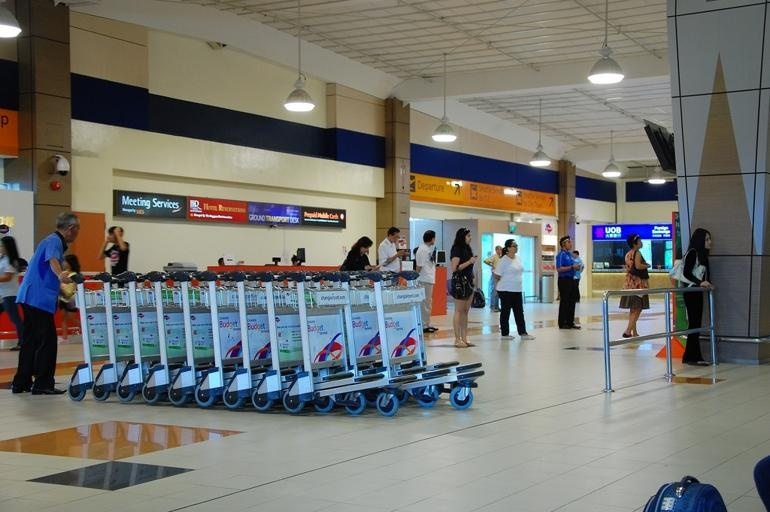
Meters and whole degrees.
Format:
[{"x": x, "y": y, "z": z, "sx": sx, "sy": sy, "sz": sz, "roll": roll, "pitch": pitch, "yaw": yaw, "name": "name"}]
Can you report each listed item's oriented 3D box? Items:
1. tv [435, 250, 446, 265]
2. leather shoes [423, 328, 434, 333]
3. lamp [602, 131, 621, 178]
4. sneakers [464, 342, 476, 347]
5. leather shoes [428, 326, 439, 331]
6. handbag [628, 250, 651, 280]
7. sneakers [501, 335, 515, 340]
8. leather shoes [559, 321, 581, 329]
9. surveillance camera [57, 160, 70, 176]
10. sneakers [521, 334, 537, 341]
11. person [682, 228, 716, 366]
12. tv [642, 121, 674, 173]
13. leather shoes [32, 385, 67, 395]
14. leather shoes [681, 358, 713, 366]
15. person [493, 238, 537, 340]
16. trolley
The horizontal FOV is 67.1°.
[{"x": 1.655, "y": 0.055, "z": 17.358, "sx": 0.439, "sy": 0.430, "sz": 0.155, "roll": 0, "pitch": 0, "yaw": -36, "name": "tv"}, {"x": 0.906, "y": 1.543, "z": 11.953, "sx": 0.293, "sy": 0.116, "sz": 0.098, "roll": 0, "pitch": -1, "yaw": 9, "name": "leather shoes"}, {"x": 9.373, "y": -4.056, "z": 24.028, "sx": 0.572, "sy": 1.914, "sz": 5.991, "roll": -2, "pitch": 0, "yaw": 22, "name": "lamp"}, {"x": 1.452, "y": 1.518, "z": 9.901, "sx": 0.187, "sy": 0.073, "sz": 0.068, "roll": 1, "pitch": -1, "yaw": 3, "name": "sneakers"}, {"x": 1.006, "y": 1.506, "z": 11.933, "sx": 0.178, "sy": 0.069, "sz": 0.061, "roll": 4, "pitch": 0, "yaw": 15, "name": "leather shoes"}, {"x": 4.584, "y": 0.143, "z": 10.584, "sx": 0.398, "sy": 0.692, "sz": 0.587, "roll": 1, "pitch": -1, "yaw": 19, "name": "handbag"}, {"x": 2.314, "y": 1.540, "z": 10.931, "sx": 0.268, "sy": 0.111, "sz": 0.088, "roll": -1, "pitch": -1, "yaw": 2, "name": "sneakers"}, {"x": 4.137, "y": 1.534, "z": 12.835, "sx": 0.541, "sy": 0.223, "sz": 0.174, "roll": -3, "pitch": -4, "yaw": 12, "name": "leather shoes"}, {"x": -6.176, "y": -1.733, "z": 11.157, "sx": 0.195, "sy": 0.318, "sz": 0.195, "roll": -2, "pitch": 0, "yaw": -7, "name": "surveillance camera"}, {"x": 2.703, "y": 1.539, "z": 10.950, "sx": 0.308, "sy": 0.121, "sz": 0.104, "roll": 0, "pitch": 0, "yaw": -5, "name": "sneakers"}, {"x": 4.357, "y": 0.566, "z": 8.138, "sx": 0.708, "sy": 1.943, "sz": 0.377, "roll": -2, "pitch": 0, "yaw": -40, "name": "person"}, {"x": 4.328, "y": -1.762, "z": 9.144, "sx": 0.394, "sy": 0.875, "sz": 1.476, "roll": -2, "pitch": 0, "yaw": 27, "name": "tv"}, {"x": -3.723, "y": 1.488, "z": 6.462, "sx": 0.310, "sy": 0.109, "sz": 0.116, "roll": 0, "pitch": -2, "yaw": -10, "name": "leather shoes"}, {"x": 4.374, "y": 1.501, "z": 8.132, "sx": 0.298, "sy": 0.089, "sz": 0.126, "roll": -6, "pitch": -6, "yaw": 24, "name": "leather shoes"}, {"x": 2.392, "y": 0.621, "z": 10.934, "sx": 0.592, "sy": 1.831, "sz": 1.335, "roll": -2, "pitch": 0, "yaw": 12, "name": "person"}, {"x": -1.239, "y": 0.837, "z": 5.948, "sx": 3.901, "sy": 1.430, "sz": 0.980, "roll": -2, "pitch": 0, "yaw": 12, "name": "trolley"}]
